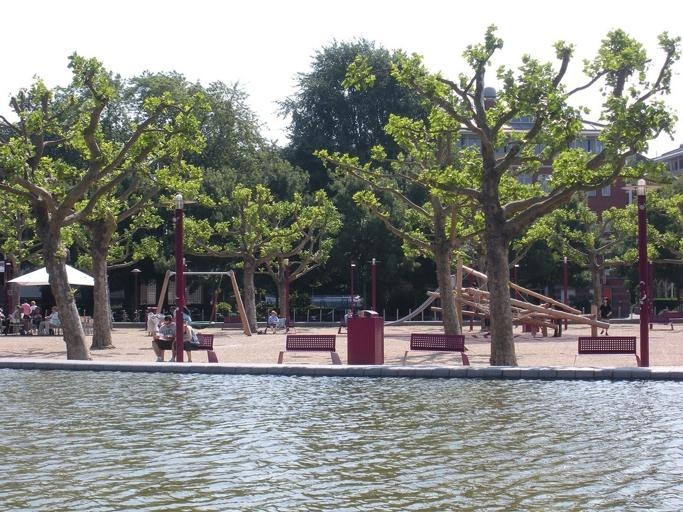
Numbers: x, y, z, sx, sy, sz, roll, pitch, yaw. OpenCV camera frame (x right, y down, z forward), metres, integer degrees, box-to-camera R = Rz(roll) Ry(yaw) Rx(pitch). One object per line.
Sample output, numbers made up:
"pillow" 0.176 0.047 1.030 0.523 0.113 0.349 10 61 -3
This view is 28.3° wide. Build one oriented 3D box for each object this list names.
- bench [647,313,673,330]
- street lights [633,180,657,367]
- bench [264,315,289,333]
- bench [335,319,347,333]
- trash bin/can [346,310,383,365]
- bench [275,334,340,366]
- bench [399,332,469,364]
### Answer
"bench" 15.057 2.994 63.699 1.375 0.988 1.119 1 -2 30
"street lights" 8.384 0.510 37.903 0.352 5.298 0.375 1 6 36
"bench" -2.995 3.212 61.497 0.842 0.790 0.887 1 -11 -7
"bench" -0.020 3.187 61.082 0.485 0.678 0.506 1 -10 4
"trash bin/can" 0.655 2.391 39.153 1.015 1.465 0.688 -2 -2 -4
"bench" -0.931 2.778 40.293 1.740 0.872 3.514 -2 -3 -1
"bench" 2.827 2.723 39.533 1.848 0.952 1.383 -3 -3 19
